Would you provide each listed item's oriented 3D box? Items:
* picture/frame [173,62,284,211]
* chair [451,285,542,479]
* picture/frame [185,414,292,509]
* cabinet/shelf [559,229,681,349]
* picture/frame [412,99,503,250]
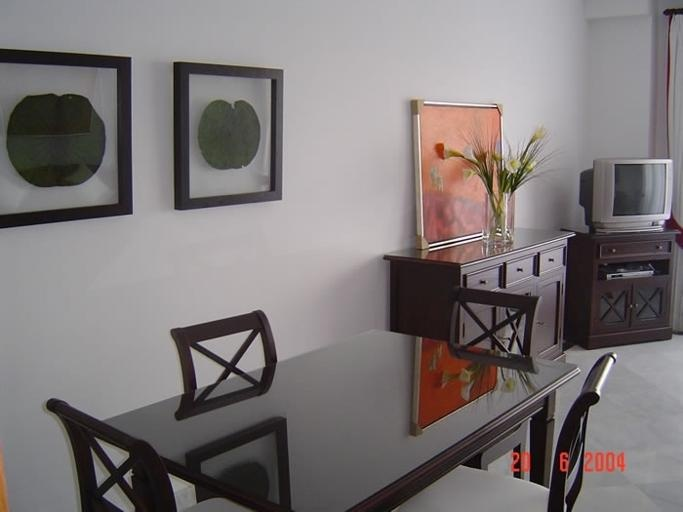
[{"bbox_3d":[-0.619,-0.637,2.729,0.049,0.854,0.671,11,15,43],"label":"picture/frame"},{"bbox_3d":[0.764,0.492,2.652,0.482,0.930,0.513,6,6,38],"label":"chair"},{"bbox_3d":[-0.312,0.618,1.614,0.018,0.303,0.236,17,25,42],"label":"picture/frame"},{"bbox_3d":[2.523,0.292,4.788,0.859,0.958,0.378,-4,7,-20],"label":"cabinet/shelf"},{"bbox_3d":[0.825,-0.567,3.858,0.089,1.017,0.957,4,10,41],"label":"picture/frame"}]
